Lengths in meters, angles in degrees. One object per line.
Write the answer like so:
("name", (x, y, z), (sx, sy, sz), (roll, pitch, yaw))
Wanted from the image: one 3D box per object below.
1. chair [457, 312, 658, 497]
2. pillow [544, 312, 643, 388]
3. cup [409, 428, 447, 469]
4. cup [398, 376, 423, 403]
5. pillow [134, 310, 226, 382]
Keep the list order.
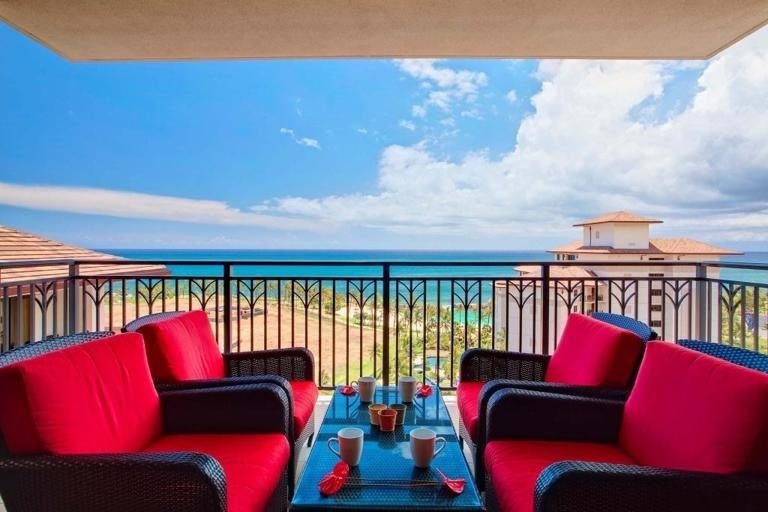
("chair", (1.040, 1.016, 4.177), (1.394, 1.163, 1.144), (1, -5, -2))
("pillow", (1.445, 0.656, 3.834), (0.239, 0.416, 0.453), (33, -13, -12))
("cup", (0.281, 1.163, 3.398), (0.275, 0.230, 0.136), (10, -16, -37))
("cup", (0.183, 0.938, 3.936), (0.135, 0.150, 0.191), (-1, -9, 5))
("pillow", (-1.478, 0.687, 3.928), (0.198, 0.495, 0.519), (-27, -5, 28))
